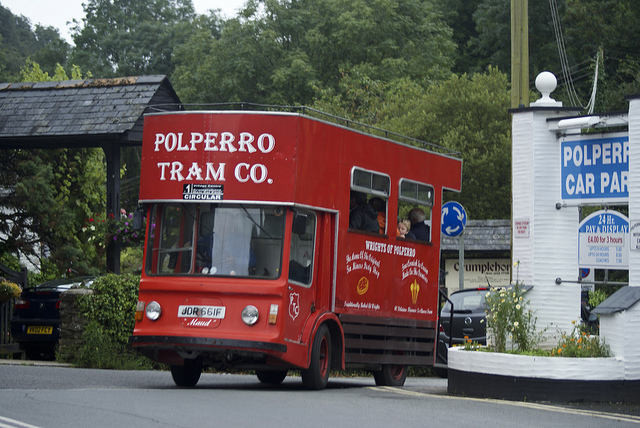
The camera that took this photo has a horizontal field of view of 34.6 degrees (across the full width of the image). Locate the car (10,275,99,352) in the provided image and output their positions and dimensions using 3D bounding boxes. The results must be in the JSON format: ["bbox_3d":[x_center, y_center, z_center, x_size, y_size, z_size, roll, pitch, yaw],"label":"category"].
[{"bbox_3d":[-6.801,2.650,26.936,1.319,1.114,3.124,-1,-2,18],"label":"car"}]

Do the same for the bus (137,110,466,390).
[{"bbox_3d":[-0.257,1.038,23.327,3.837,5.683,8.829,0,-5,27],"label":"bus"}]

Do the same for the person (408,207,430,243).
[{"bbox_3d":[2.208,0.255,23.251,0.331,0.488,0.728,3,1,40],"label":"person"}]
